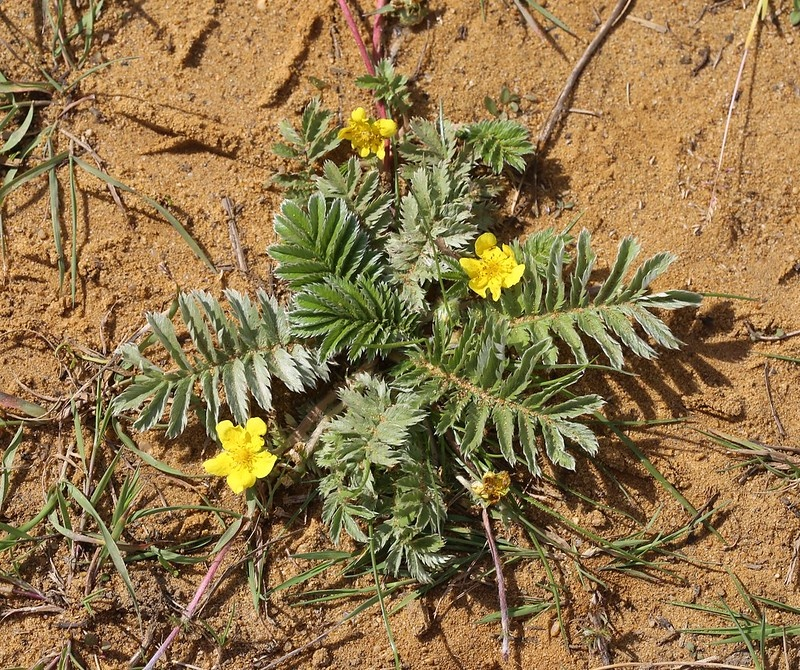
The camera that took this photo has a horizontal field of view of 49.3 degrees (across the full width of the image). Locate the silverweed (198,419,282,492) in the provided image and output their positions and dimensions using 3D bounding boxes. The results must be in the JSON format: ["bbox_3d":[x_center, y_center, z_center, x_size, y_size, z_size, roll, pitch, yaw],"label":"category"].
[{"bbox_3d":[-0.657,0.510,3.685,0.266,0.121,0.367,10,51,6],"label":"silverweed"}]

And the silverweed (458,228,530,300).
[{"bbox_3d":[0.399,-0.291,3.801,0.264,0.157,0.200,35,55,10],"label":"silverweed"}]
